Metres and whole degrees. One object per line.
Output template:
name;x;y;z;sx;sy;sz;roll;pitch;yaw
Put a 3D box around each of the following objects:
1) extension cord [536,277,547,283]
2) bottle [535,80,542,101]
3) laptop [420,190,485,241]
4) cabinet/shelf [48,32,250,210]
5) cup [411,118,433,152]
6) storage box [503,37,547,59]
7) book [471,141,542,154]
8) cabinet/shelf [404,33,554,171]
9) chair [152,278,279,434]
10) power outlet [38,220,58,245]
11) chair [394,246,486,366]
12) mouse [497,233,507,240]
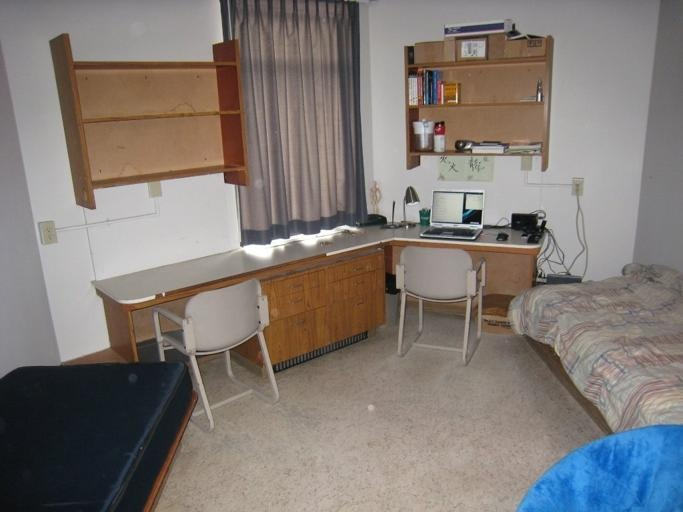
extension cord;1.825;0.226;4.650;0.073;0.055;0.044;5;16;24
bottle;1.662;-1.375;4.255;0.062;0.180;0.200;4;18;19
laptop;1.004;-0.360;4.526;0.527;0.418;0.497;4;14;26
cabinet/shelf;-1.403;-0.985;3.592;0.339;0.996;1.109;11;21;37
cup;0.752;-1.103;4.698;0.253;0.269;0.204;-5;11;-10
storage box;1.460;-1.651;4.050;0.317;0.141;0.049;5;18;21
book;1.427;-0.941;4.442;0.589;0.089;0.239;2;18;14
cabinet/shelf;1.237;-1.369;4.441;1.104;1.032;0.377;4;15;25
chair;-0.776;0.596;3.177;0.591;1.012;0.684;15;19;41
power outlet;-1.983;-0.156;3.431;0.031;0.146;0.125;1;5;37
chair;0.811;0.293;4.159;0.654;0.936;0.665;4;18;19
mouse;1.364;-0.161;4.304;0.096;0.037;0.155;5;19;22
